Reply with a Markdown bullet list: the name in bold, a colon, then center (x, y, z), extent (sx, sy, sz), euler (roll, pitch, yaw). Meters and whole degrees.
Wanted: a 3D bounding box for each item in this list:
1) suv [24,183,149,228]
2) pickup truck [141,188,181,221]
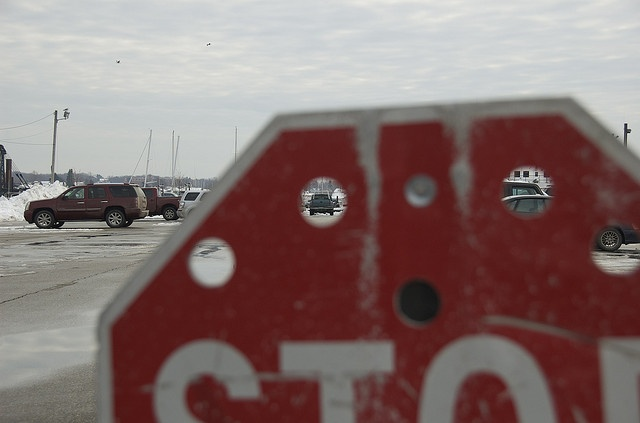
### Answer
- **suv**: center (-7.922, -0.202, 23.424), extent (3.548, 1.427, 1.667), euler (2, -1, -10)
- **pickup truck**: center (-6.615, -0.334, 29.067), extent (1.791, 0.882, 1.006), euler (3, 0, -2)
